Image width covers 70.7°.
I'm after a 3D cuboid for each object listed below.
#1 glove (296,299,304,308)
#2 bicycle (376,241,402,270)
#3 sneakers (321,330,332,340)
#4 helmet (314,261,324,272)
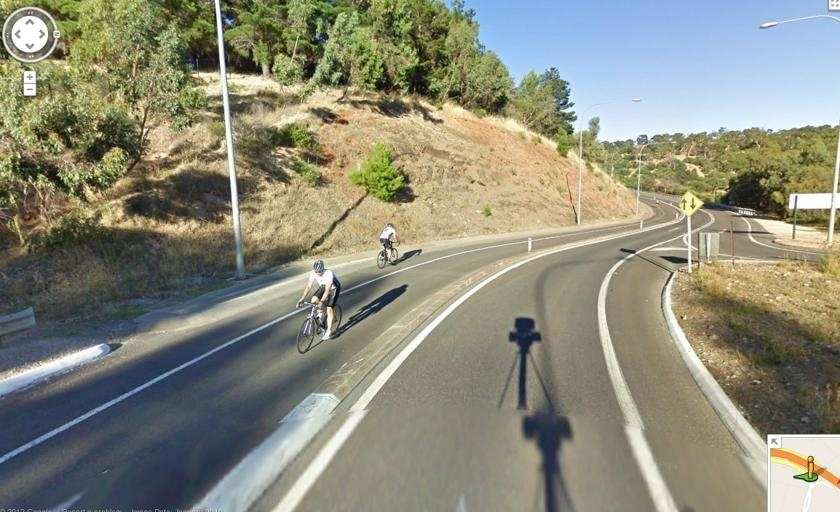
[{"bbox_3d":[-5.864,2.232,28.547,0.250,0.335,0.735,14,11,2],"label":"glove"},{"bbox_3d":[-2.321,0.046,38.464,0.957,1.311,2.058,0,0,26],"label":"bicycle"},{"bbox_3d":[-4.484,3.807,28.253,0.263,0.235,0.533,-9,33,37],"label":"sneakers"},{"bbox_3d":[-4.910,0.464,28.353,0.354,0.455,0.527,7,56,8],"label":"helmet"}]
